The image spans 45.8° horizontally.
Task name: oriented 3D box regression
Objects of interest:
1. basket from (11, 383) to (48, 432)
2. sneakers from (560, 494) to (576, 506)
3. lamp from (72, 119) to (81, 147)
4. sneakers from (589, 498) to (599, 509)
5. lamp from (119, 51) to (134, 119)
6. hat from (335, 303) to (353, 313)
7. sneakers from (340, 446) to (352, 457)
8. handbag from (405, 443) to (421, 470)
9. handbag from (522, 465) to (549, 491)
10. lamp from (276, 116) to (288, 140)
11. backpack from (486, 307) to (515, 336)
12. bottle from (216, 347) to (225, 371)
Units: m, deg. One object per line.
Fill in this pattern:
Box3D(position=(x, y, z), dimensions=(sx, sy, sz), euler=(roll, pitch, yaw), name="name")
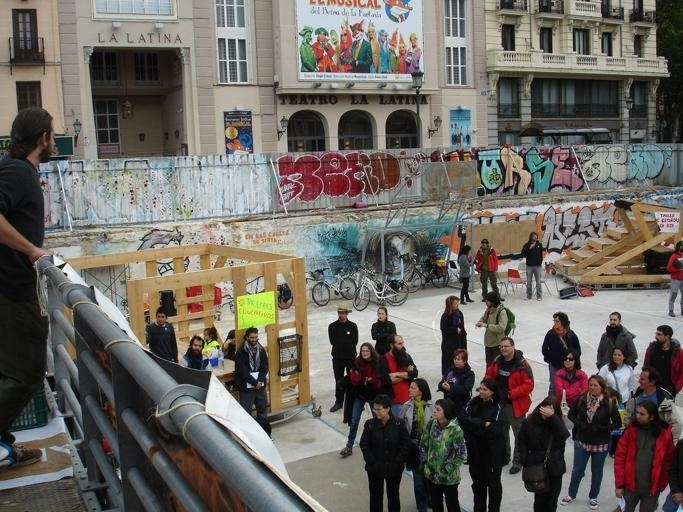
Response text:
Box3D(position=(-2.780, 1.368, 7.162), dimensions=(0.248, 0.290, 0.406), euler=(-1, -7, -30), name="basket")
Box3D(position=(3.480, 3.689, 12.293), dimensions=(0.273, 0.123, 0.095), euler=(9, -4, -33), name="sneakers")
Box3D(position=(-10.835, -5.057, 33.065), dimensions=(0.337, 1.117, 0.550), euler=(-5, 6, -15), name="lamp")
Box3D(position=(3.811, 3.666, 12.105), dimensions=(0.133, 0.134, 0.249), euler=(-1, 7, 20), name="sneakers")
Box3D(position=(-9.944, -7.323, 37.171), dimensions=(0.531, 1.877, 1.924), euler=(-5, 6, -15), name="lamp")
Box3D(position=(0.078, 1.256, 19.941), dimensions=(0.562, 0.256, 0.716), euler=(2, -6, 9), name="hat")
Box3D(position=(0.090, 3.392, 14.076), dimensions=(0.095, 0.152, 0.305), euler=(-1, -13, 13), name="sneakers")
Box3D(position=(1.035, 2.846, 11.606), dimensions=(0.186, 0.420, 0.289), euler=(-2, 15, -5), name="handbag")
Box3D(position=(2.682, 3.008, 11.031), dimensions=(0.281, 0.306, 0.146), euler=(-8, -10, 28), name="handbag")
Box3D(position=(-2.657, -5.974, 37.543), dimensions=(0.509, 1.055, 1.021), euler=(-1, 7, 20), name="lamp")
Box3D(position=(3.103, 1.259, 15.751), dimensions=(0.404, 0.690, 0.584), euler=(-10, 9, -7), name="backpack")
Box3D(position=(-2.271, 1.888, 15.132), dimensions=(0.108, 0.306, 0.420), euler=(-4, 6, -9), name="bottle")
